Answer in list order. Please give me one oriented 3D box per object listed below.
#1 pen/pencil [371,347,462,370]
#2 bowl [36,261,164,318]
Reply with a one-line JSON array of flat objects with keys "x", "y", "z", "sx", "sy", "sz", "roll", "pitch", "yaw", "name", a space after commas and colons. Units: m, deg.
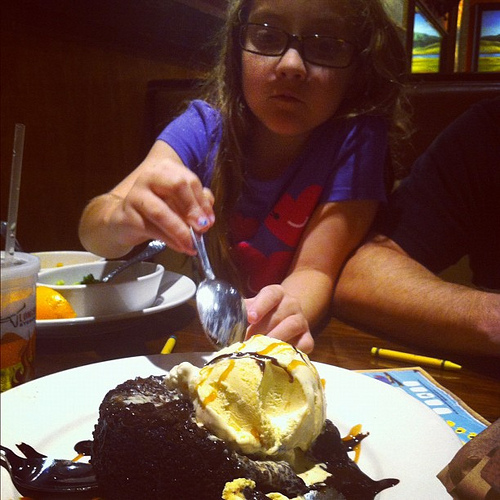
[{"x": 0.339, "y": 0.224, "z": 1.031, "sx": 0.130, "sy": 0.018, "sz": 0.019, "roll": 7, "pitch": 1, "yaw": 21, "name": "pen/pencil"}, {"x": -0.310, "y": 0.087, "z": 1.162, "sx": 0.248, "sy": 0.074, "sz": 0.230, "roll": -6, "pitch": 13, "yaw": 1, "name": "bowl"}]
